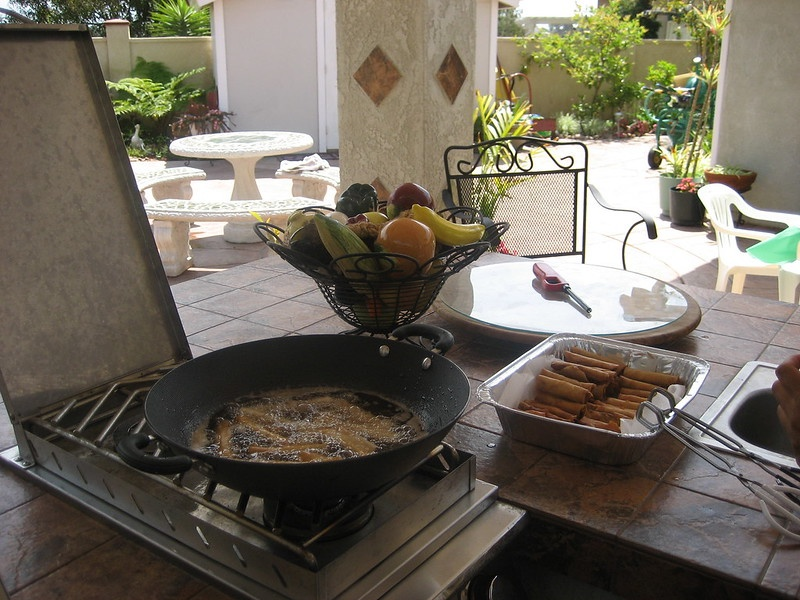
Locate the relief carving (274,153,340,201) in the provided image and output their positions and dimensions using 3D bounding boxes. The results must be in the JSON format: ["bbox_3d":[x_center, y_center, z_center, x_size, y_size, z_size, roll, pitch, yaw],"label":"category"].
[{"bbox_3d":[-0.952,-1.184,6.245,0.647,0.143,0.330,-4,34,0],"label":"relief carving"}]

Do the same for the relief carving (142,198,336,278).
[{"bbox_3d":[-0.923,-0.335,3.222,1.066,0.180,0.901,-7,20,-19],"label":"relief carving"}]

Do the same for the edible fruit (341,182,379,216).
[{"bbox_3d":[-0.080,-0.194,1.212,0.093,0.058,0.075,-12,-18,-5],"label":"edible fruit"}]

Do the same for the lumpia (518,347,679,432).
[{"bbox_3d":[0.317,0.125,0.995,0.173,0.045,0.152,10,24,33],"label":"lumpia"}]
